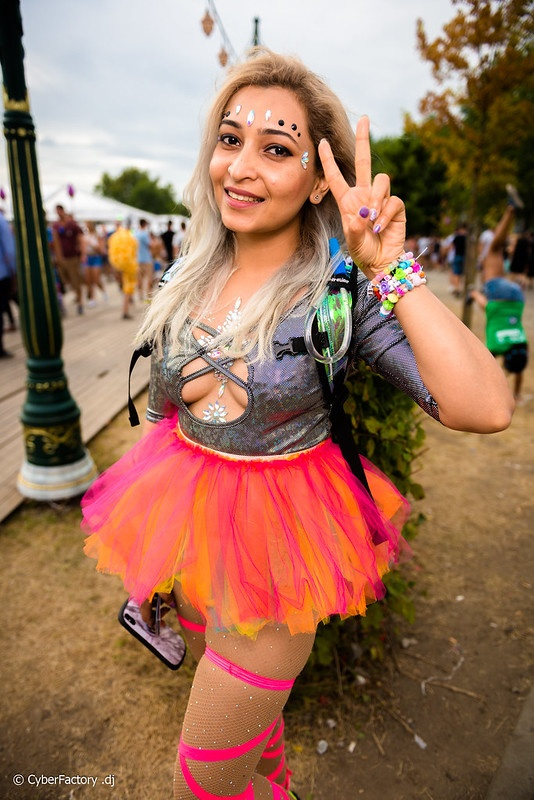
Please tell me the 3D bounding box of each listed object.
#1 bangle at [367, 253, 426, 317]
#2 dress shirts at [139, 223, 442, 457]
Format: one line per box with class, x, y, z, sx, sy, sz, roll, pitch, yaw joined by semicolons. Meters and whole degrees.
bangle;0.270;-0.245;1.180;0.119;0.118;0.041;-41;-16;5
dress shirts;0.046;-0.046;1.371;0.494;0.515;0.270;3;-22;13
